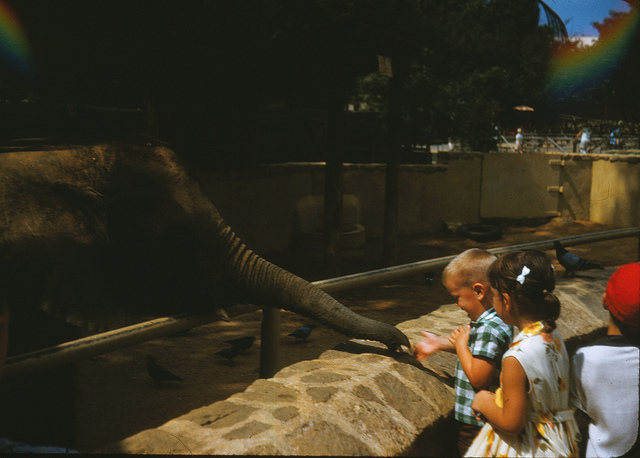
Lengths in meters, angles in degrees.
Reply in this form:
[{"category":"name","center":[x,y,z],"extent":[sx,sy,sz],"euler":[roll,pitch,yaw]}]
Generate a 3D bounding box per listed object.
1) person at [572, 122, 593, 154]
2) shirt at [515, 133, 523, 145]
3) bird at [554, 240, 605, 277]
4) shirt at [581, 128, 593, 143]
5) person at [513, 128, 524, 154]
[{"category":"person","center":[7.671,-2.628,16.993],"extent":[0.295,0.802,1.069],"euler":[5,9,23]},{"category":"shirt","center":[6.867,-3.120,20.350],"extent":[0.219,0.390,0.445],"euler":[4,9,19]},{"category":"bird","center":[2.637,0.326,6.033],"extent":[0.632,0.341,0.158],"euler":[5,2,13]},{"category":"shirt","center":[7.721,-2.716,17.088],"extent":[0.170,0.332,0.278],"euler":[7,10,-33]},{"category":"person","center":[6.860,-3.067,20.312],"extent":[0.291,0.766,0.872],"euler":[4,9,17]}]
